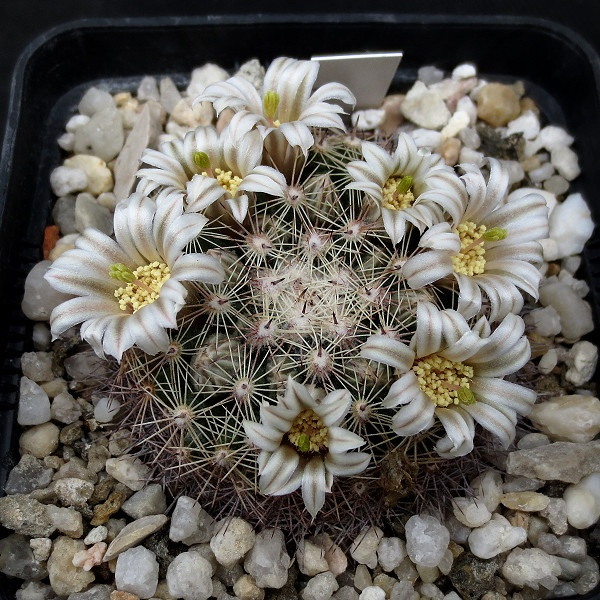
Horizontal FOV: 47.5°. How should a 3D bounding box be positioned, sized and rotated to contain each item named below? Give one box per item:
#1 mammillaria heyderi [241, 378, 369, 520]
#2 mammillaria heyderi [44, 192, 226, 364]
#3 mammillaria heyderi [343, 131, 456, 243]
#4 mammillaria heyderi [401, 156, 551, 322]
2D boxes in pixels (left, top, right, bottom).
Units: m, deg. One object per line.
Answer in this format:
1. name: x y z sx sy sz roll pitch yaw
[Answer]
1. mammillaria heyderi: 0.010 0.356 1.707 0.281 0.164 0.330 43 82 10
2. mammillaria heyderi: -0.395 -0.038 1.877 0.462 0.167 0.467 10 75 26
3. mammillaria heyderi: 0.287 -0.310 1.824 0.314 0.135 0.315 -3 85 -7
4. mammillaria heyderi: 0.442 -0.125 1.991 0.437 0.237 0.453 -27 101 -23
